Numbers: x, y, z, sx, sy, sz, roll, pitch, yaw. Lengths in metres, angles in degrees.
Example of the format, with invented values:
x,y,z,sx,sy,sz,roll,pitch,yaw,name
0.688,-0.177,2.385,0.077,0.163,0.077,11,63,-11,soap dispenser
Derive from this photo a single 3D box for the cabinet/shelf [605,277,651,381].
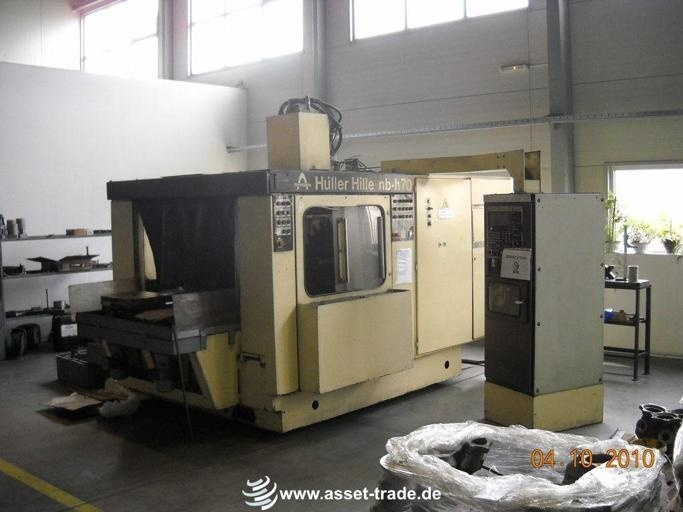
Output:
x,y,z,sx,sy,sz,roll,pitch,yaw,name
3.120,0.794,5.766,0.395,0.878,0.980,0,2,15,cabinet/shelf
